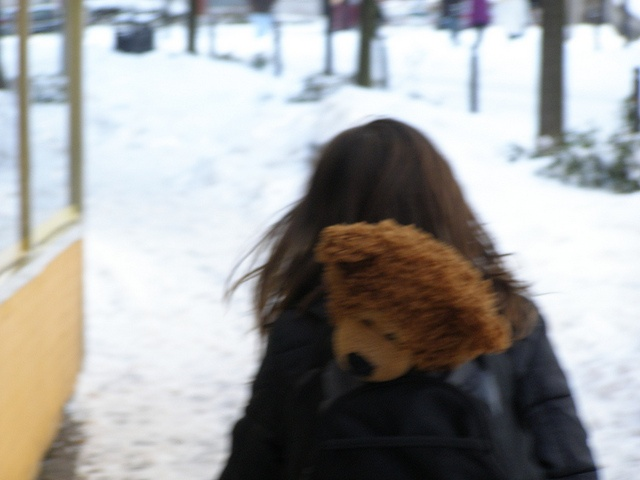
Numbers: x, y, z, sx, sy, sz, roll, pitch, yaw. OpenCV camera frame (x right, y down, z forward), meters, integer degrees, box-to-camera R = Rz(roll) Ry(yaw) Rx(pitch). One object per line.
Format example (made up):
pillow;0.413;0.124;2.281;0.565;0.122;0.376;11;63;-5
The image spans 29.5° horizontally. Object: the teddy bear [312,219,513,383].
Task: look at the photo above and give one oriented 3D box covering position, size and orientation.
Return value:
teddy bear;0.557;0.407;7.710;1.056;1.022;0.507;-3;11;6
